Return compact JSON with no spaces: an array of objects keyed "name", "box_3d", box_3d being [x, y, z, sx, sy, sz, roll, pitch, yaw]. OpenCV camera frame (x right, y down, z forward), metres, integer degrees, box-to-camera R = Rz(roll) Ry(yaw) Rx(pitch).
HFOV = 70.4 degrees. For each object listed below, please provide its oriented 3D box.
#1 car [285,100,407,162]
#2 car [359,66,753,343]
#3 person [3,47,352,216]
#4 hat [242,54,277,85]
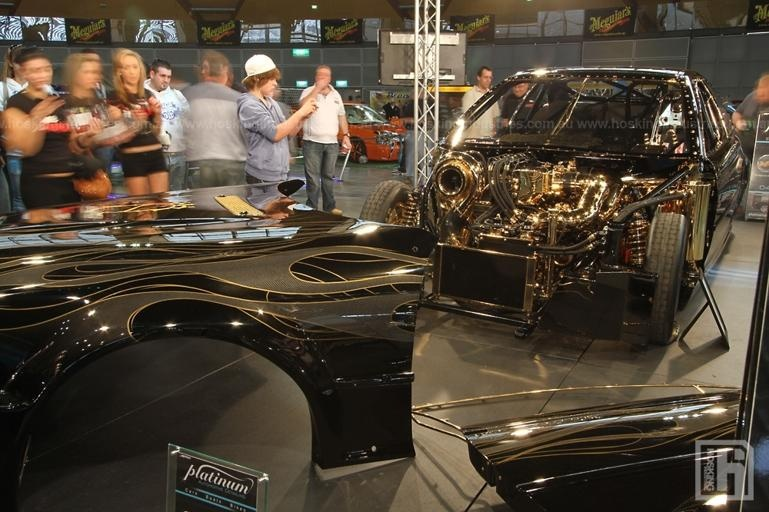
[{"name":"car","box_3d":[-0.500,-3.074,13.271,2.499,1.085,1.464,8,16,38]},{"name":"car","box_3d":[1.774,-0.426,4.579,1.923,1.297,3.031,10,15,34]},{"name":"person","box_3d":[-2.026,-1.024,4.230,1.584,1.172,0.504,-9,16,-32]},{"name":"hat","box_3d":[-1.002,-1.462,4.182,0.269,0.150,0.197,-14,22,43]}]
